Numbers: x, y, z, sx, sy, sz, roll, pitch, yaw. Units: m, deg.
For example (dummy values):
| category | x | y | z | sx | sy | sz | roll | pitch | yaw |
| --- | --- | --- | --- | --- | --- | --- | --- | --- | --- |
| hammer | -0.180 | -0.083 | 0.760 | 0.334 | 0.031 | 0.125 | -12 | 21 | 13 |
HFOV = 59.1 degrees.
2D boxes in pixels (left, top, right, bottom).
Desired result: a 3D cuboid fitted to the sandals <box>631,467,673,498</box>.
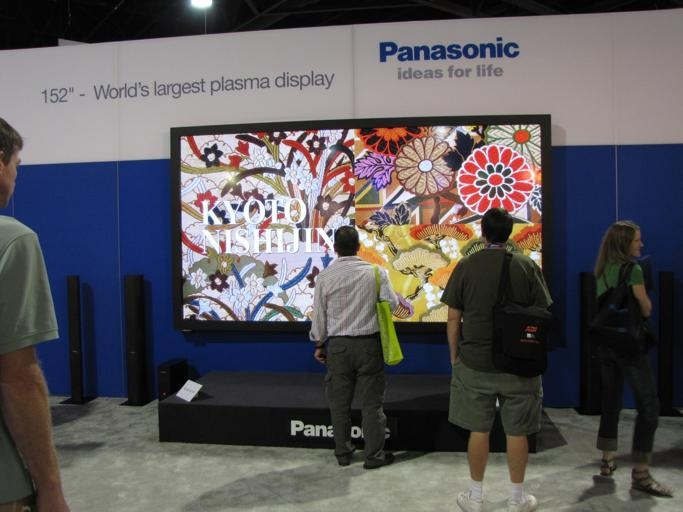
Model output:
| category | x | y | z | sx | sy | sz | roll | pitch | yaw |
| --- | --- | --- | --- | --- | --- | --- | --- | --- | --- |
| sandals | 2.180 | 1.613 | 4.273 | 0.346 | 0.223 | 0.128 | -3 | -2 | 32 |

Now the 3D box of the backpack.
| category | x | y | z | sx | sy | sz | roll | pitch | yaw |
| --- | --- | --- | --- | --- | --- | --- | --- | --- | --- |
| backpack | 2.064 | 0.372 | 4.458 | 0.383 | 0.602 | 0.430 | -1 | 1 | 4 |

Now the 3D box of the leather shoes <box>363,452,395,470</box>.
| category | x | y | z | sx | sy | sz | roll | pitch | yaw |
| --- | --- | --- | --- | --- | --- | --- | --- | --- | --- |
| leather shoes | 0.297 | 1.587 | 4.734 | 0.271 | 0.120 | 0.092 | -5 | 4 | -42 |

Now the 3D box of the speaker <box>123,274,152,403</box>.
| category | x | y | z | sx | sy | sz | roll | pitch | yaw |
| --- | --- | --- | --- | --- | --- | --- | --- | --- | --- |
| speaker | -2.060 | 0.830 | 6.015 | 0.245 | 1.288 | 0.335 | -2 | 10 | -6 |

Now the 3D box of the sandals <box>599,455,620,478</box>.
| category | x | y | z | sx | sy | sz | roll | pitch | yaw |
| --- | --- | --- | --- | --- | --- | --- | --- | --- | --- |
| sandals | 2.013 | 1.572 | 4.524 | 0.087 | 0.115 | 0.287 | -5 | -9 | 29 |

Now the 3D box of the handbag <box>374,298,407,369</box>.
| category | x | y | z | sx | sy | sz | roll | pitch | yaw |
| --- | --- | --- | --- | --- | --- | --- | --- | --- | --- |
| handbag | 0.367 | 0.595 | 4.621 | 0.164 | 0.490 | 0.291 | -3 | 10 | -10 |

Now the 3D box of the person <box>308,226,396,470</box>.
| category | x | y | z | sx | sy | sz | roll | pitch | yaw |
| --- | --- | --- | --- | --- | --- | --- | --- | --- | --- |
| person | 0.090 | 0.703 | 4.671 | 0.677 | 1.833 | 0.370 | 0 | 10 | 5 |
